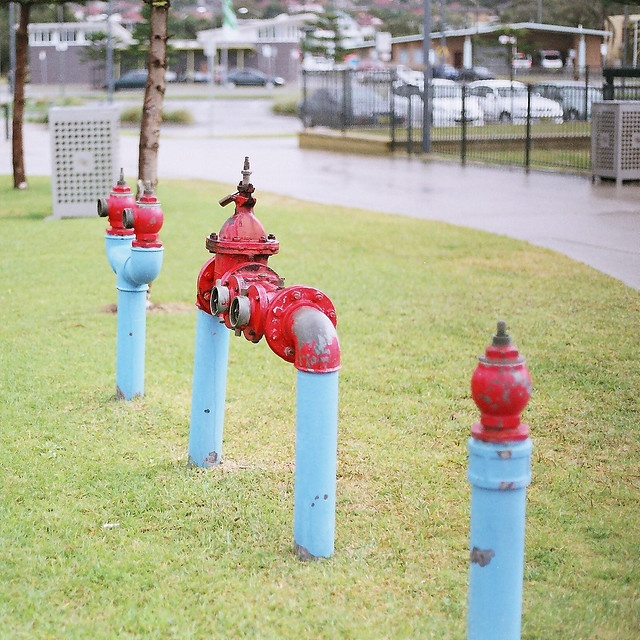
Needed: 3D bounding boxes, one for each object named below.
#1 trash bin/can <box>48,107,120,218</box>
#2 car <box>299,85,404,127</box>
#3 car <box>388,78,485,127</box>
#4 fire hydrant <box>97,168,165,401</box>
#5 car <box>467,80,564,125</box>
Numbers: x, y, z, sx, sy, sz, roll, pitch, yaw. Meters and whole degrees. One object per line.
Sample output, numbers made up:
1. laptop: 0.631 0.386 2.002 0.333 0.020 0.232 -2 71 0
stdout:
1. trash bin/can: -2.832 -1.922 21.481 0.827 1.328 0.410 -3 10 -15
2. car: 0.673 -4.563 37.575 1.684 0.931 2.352 -3 11 -16
3. car: 2.444 -4.497 36.951 1.116 1.079 2.057 -5 11 -27
4. fire hydrant: -1.365 -0.377 13.831 0.539 1.831 0.609 -8 26 -26
5. car: 4.297 -4.670 37.823 1.113 0.968 2.515 -7 11 -25
